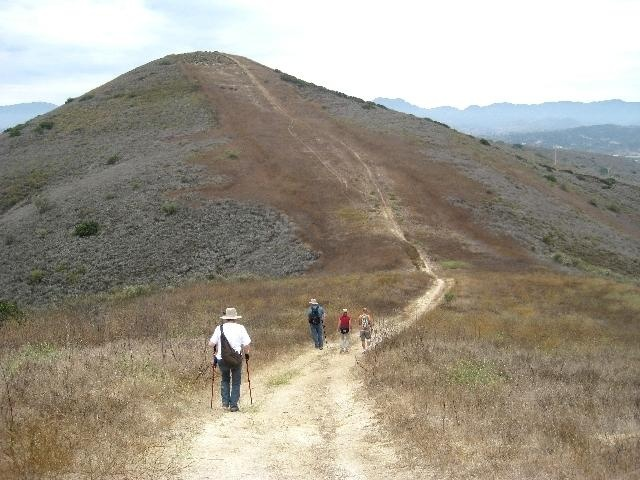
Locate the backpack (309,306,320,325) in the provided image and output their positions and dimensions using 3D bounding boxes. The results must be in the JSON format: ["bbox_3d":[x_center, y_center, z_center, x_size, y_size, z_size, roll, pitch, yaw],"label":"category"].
[{"bbox_3d":[-0.212,3.364,29.043,0.555,0.757,0.282,-1,13,0],"label":"backpack"}]

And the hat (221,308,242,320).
[{"bbox_3d":[-3.500,2.942,26.145,1.179,0.445,1.192,1,-4,-2],"label":"hat"}]

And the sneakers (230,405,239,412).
[{"bbox_3d":[-2.952,5.887,22.823,0.337,0.178,0.198,3,6,-4],"label":"sneakers"}]

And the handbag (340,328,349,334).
[{"bbox_3d":[1.087,3.909,28.274,0.379,0.301,0.255,-1,13,1],"label":"handbag"}]
